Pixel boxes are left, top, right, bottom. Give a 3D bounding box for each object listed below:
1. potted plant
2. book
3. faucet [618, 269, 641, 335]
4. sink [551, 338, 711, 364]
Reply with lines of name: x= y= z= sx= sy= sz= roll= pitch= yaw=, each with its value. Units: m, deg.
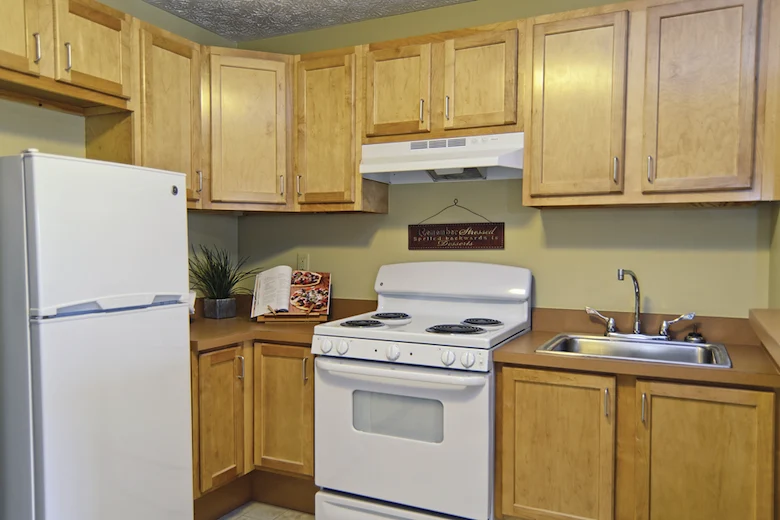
potted plant: x=-1.085 y=0.129 z=4.118 sx=0.494 sy=0.399 sz=0.475 roll=2 pitch=2 yaw=22
book: x=-0.632 y=0.196 z=3.895 sx=0.500 sy=0.312 sz=0.259 roll=0 pitch=4 yaw=-6
faucet: x=1.311 y=0.219 z=3.312 sx=0.121 sy=0.351 sz=0.241 roll=1 pitch=4 yaw=22
sink: x=1.257 y=0.473 z=3.228 sx=0.813 sy=0.100 sz=0.219 roll=0 pitch=3 yaw=7
